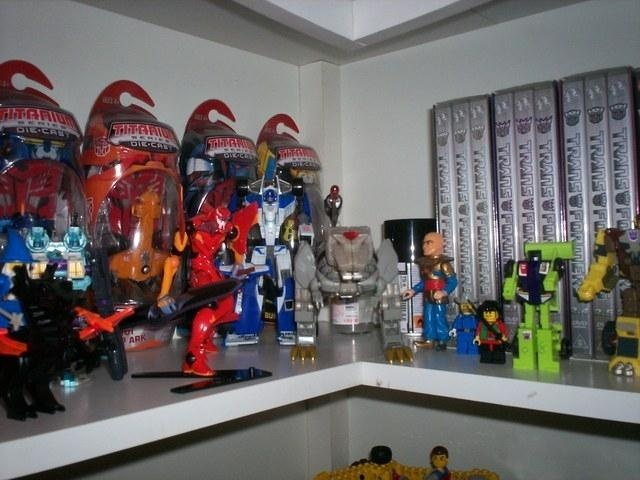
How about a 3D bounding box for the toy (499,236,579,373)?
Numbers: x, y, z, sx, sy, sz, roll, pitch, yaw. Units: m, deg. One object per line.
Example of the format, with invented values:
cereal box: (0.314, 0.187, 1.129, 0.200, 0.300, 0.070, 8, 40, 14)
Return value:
toy: (0.775, 0.229, 1.753, 0.251, 0.428, 0.194, -3, 2, 6)
